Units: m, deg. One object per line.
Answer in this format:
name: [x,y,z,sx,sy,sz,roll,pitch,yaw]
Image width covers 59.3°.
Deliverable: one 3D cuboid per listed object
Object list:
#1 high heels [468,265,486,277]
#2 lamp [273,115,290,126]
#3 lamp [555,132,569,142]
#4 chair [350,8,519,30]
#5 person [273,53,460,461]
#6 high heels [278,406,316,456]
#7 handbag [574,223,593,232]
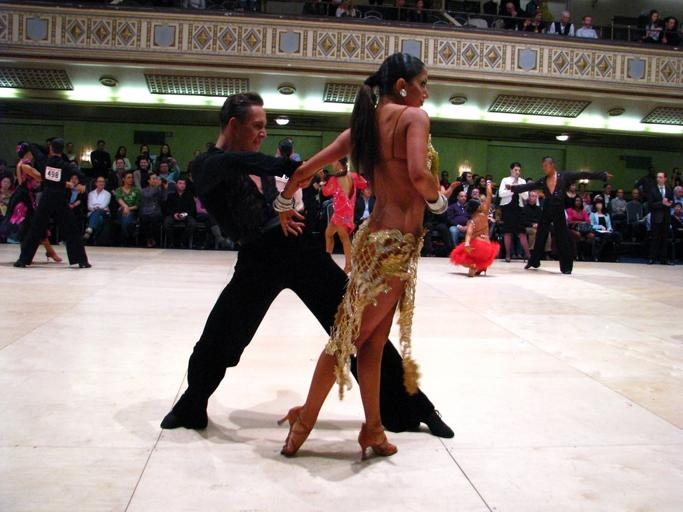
high heels: [2.058,0.215,9.093,0.129,0.183,0.414,0,15,28]
lamp: [-1.481,-3.322,14.779,0.312,0.201,0.313,-1,1,0]
lamp: [5.845,-3.139,15.913,0.421,0.161,0.422,0,-3,-12]
chair: [2.412,-5.576,14.144,3.919,0.344,0.497,0,12,-8]
person: [0.112,-0.007,3.223,0.852,2.109,0.540,1,12,-6]
high heels: [-0.245,0.927,3.237,0.153,0.357,0.109,15,29,-8]
handbag: [5.255,-0.607,12.941,0.455,0.172,0.149,-2,13,-19]
